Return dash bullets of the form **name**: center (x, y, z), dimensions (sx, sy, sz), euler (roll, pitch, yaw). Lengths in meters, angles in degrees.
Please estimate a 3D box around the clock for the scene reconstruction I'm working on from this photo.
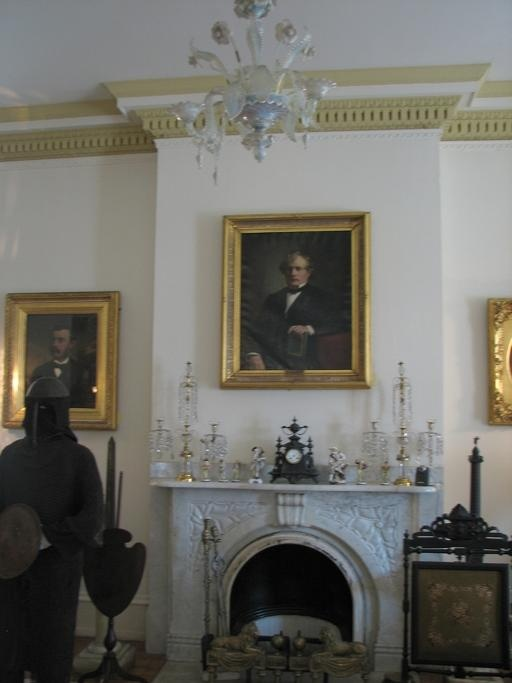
- **clock**: center (0.292, 0.833, 7.506), dimensions (0.348, 0.483, 0.355), euler (1, -3, 3)

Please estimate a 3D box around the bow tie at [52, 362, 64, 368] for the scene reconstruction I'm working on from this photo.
- **bow tie**: center (-1.668, 0.202, 8.370), dimensions (0.061, 0.049, 0.013), euler (0, -12, 3)
